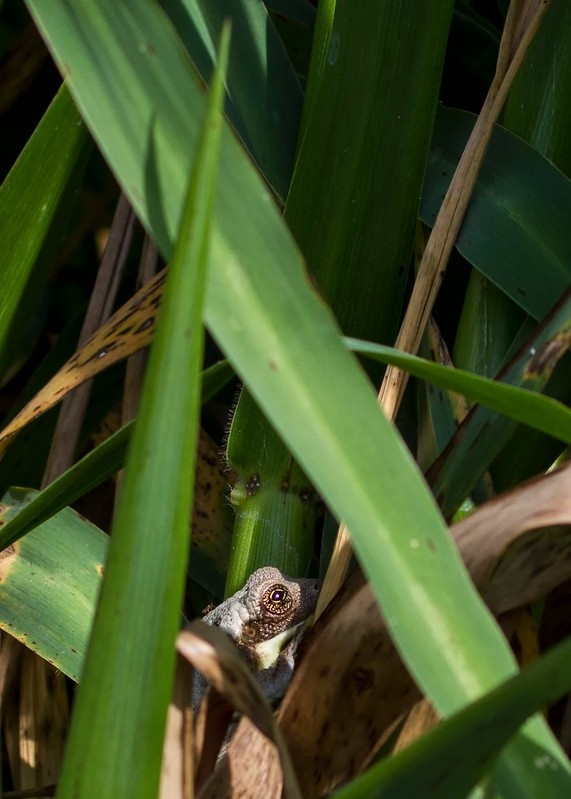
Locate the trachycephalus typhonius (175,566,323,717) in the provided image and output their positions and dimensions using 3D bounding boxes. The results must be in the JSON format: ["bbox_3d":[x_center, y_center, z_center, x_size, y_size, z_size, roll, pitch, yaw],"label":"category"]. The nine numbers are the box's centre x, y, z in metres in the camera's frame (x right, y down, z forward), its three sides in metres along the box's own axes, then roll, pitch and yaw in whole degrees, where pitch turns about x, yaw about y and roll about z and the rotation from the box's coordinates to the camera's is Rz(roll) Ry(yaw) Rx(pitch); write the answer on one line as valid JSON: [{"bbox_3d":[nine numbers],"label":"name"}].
[{"bbox_3d":[-0.010,0.103,0.372,0.045,0.053,0.066,6,-42,-11],"label":"trachycephalus typhonius"}]
